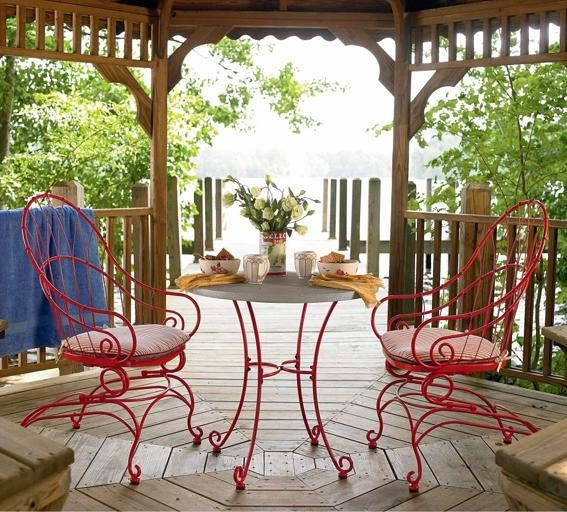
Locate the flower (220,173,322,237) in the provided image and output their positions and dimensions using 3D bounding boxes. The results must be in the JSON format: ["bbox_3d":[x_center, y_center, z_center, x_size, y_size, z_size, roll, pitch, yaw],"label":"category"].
[{"bbox_3d":[-0.062,-0.225,2.707,0.467,0.204,0.328,2,-8,4],"label":"flower"}]

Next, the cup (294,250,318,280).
[{"bbox_3d":[0.107,0.044,2.779,0.142,0.134,0.132,0,6,0],"label":"cup"}]

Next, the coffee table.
[{"bbox_3d":[-0.010,0.587,2.682,0.814,0.826,0.807,5,-7,-43],"label":"coffee table"}]

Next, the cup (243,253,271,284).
[{"bbox_3d":[-0.122,0.055,2.594,0.146,0.115,0.117,2,3,5],"label":"cup"}]

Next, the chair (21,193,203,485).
[{"bbox_3d":[-0.892,0.367,2.801,0.950,1.226,0.926,9,3,21],"label":"chair"}]

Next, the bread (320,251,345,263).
[{"bbox_3d":[0.291,0.001,3.340,0.099,0.028,0.096,-10,9,-4],"label":"bread"}]
